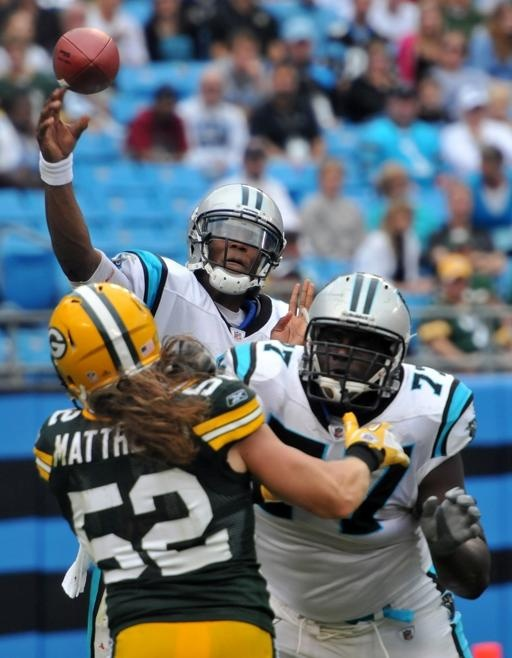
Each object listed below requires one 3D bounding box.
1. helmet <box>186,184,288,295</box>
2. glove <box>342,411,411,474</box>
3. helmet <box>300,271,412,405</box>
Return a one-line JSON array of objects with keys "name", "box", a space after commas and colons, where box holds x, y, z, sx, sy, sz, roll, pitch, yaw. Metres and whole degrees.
[{"name": "helmet", "box": [-0.102, -0.377, 4.425, 0.409, 0.405, 0.484, 14, 2, -18]}, {"name": "glove", "box": [0.336, 0.318, 3.283, 0.246, 0.057, 0.167, 3, 35, -38]}, {"name": "helmet", "box": [0.330, 0.012, 3.683, 0.385, 0.373, 0.452, 10, 9, 9]}]
